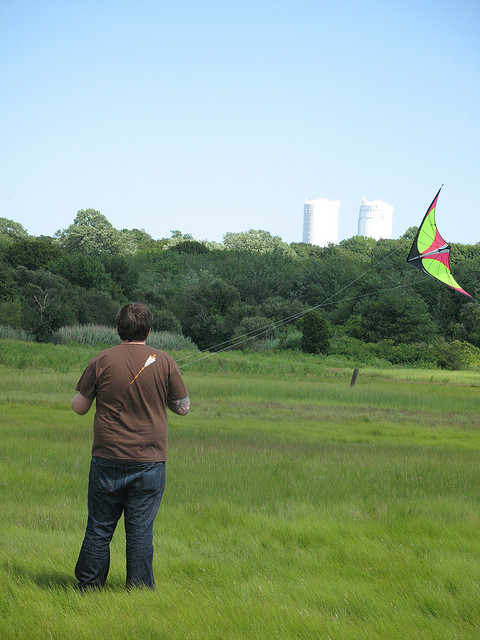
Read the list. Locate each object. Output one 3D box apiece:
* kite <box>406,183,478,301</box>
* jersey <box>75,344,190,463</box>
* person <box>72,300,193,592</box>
[{"bbox_3d":[2.477,-0.946,13.077,0.650,1.336,1.232,3,1,28],"label":"kite"},{"bbox_3d":[-0.758,0.636,7.137,0.887,1.254,0.393,1,-3,-3],"label":"jersey"},{"bbox_3d":[-0.704,0.719,6.404,0.602,2.258,0.585,1,29,-10],"label":"person"}]
